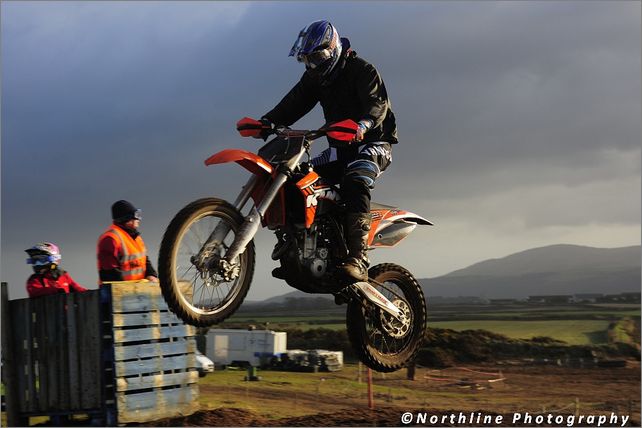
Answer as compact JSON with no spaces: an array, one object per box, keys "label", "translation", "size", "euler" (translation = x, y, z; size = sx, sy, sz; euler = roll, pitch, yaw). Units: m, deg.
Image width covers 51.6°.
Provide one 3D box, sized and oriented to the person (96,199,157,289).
[{"label":"person","translation":[-4.137,0.616,14.327],"size":[1.299,1.792,0.673],"euler":[11,-13,-22]}]
